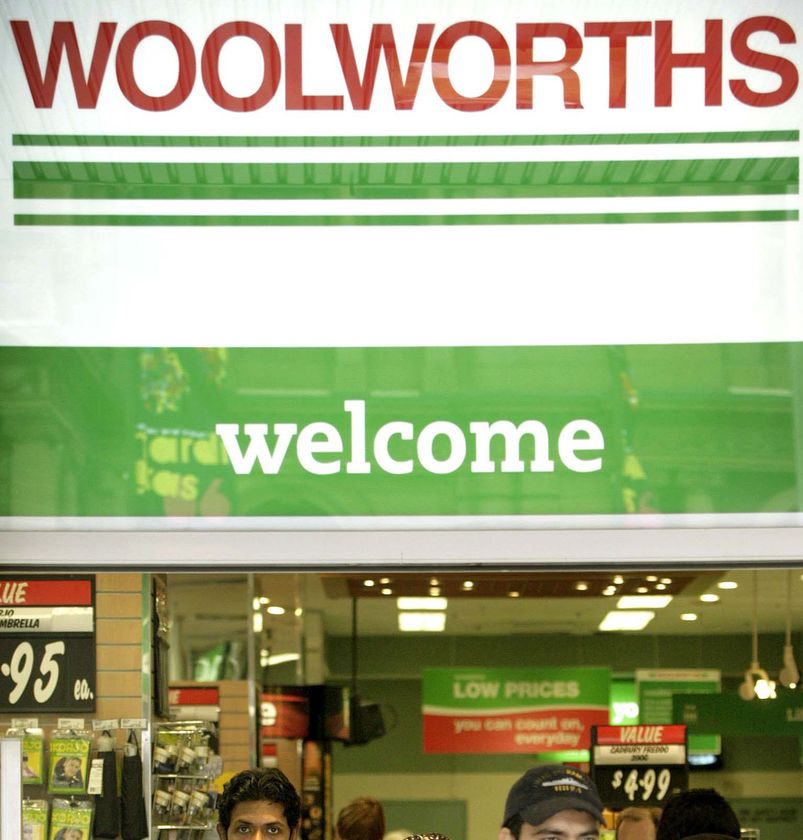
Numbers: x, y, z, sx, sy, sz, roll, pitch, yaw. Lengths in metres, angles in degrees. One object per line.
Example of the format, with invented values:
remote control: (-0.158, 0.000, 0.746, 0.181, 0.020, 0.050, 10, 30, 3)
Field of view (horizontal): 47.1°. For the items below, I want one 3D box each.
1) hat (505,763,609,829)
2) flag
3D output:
hat: (0.308, 0.818, 1.991, 0.131, 0.089, 0.175, 8, -24, -10)
flag: (0.726, 1.721, 5.507, 1.100, 0.507, 0.008, -3, -58, 6)
